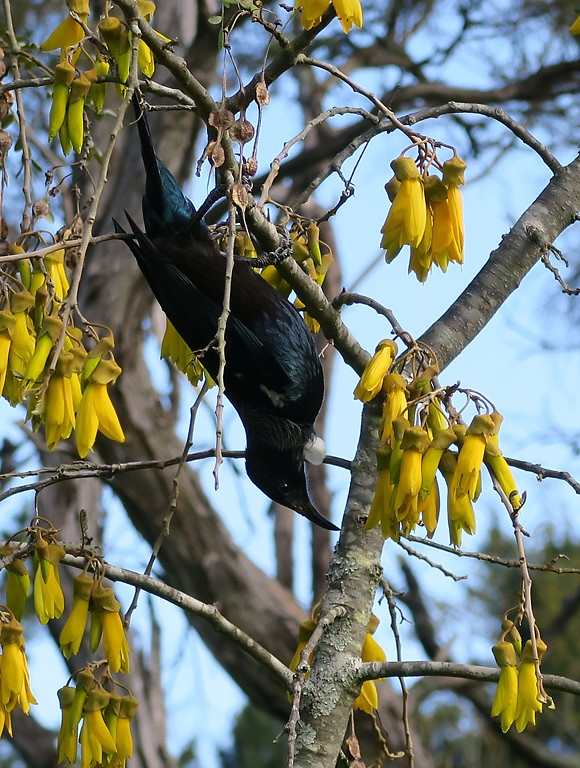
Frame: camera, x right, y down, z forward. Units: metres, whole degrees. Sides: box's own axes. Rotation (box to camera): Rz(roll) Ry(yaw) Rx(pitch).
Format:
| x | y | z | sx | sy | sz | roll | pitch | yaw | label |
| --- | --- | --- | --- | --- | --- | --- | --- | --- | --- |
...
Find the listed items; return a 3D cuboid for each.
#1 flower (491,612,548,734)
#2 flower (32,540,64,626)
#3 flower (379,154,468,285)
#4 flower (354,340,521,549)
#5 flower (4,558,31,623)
| x | y | z | sx | sy | sz | roll | pitch | yaw | label |
| --- | --- | --- | --- | --- | --- | --- | --- | --- | --- |
| 0.503 | 0.662 | 3.488 | 0.107 | 0.213 | 0.192 | 1 | -56 | 8 | flower |
| -0.529 | 0.444 | 3.483 | 0.049 | 0.072 | 0.202 | -2 | -97 | 14 | flower |
| 0.331 | -0.419 | 3.784 | 0.217 | 0.204 | 0.290 | 16 | -56 | -2 | flower |
| 0.289 | 0.155 | 3.412 | 0.295 | 0.450 | 0.240 | 6 | -26 | -11 | flower |
| -0.616 | 0.473 | 3.556 | 0.040 | 0.065 | 0.180 | -1 | -66 | -4 | flower |
